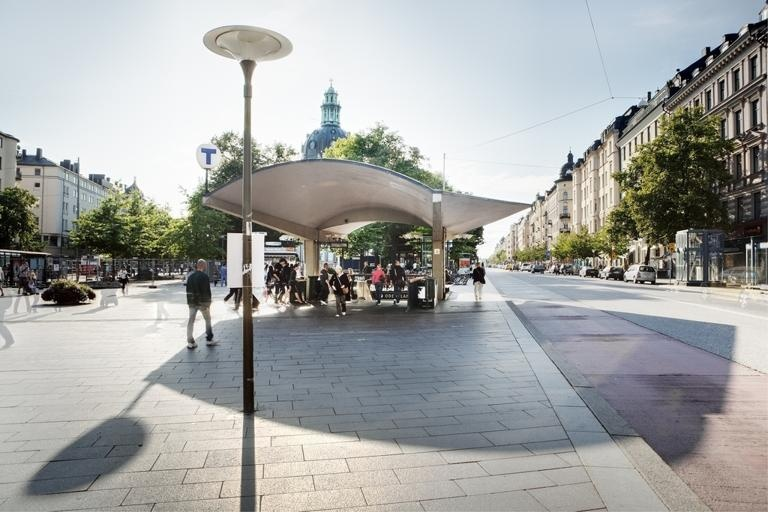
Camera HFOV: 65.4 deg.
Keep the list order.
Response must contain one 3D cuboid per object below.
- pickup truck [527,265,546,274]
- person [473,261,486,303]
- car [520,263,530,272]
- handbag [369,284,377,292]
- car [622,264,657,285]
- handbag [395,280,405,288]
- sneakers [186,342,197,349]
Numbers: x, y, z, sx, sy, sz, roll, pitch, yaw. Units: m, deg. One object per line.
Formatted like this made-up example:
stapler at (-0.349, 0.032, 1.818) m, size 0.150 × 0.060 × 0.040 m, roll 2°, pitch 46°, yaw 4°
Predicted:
pickup truck at (23.661, 1.992, 92.111) m, size 2.016 × 1.496 × 3.747 m, roll 0°, pitch 5°, yaw 8°
person at (3.883, 1.033, 24.846) m, size 0.403 × 1.688 × 1.278 m, roll 0°, pitch 5°, yaw 6°
car at (27.569, 2.184, 116.323) m, size 1.253 × 1.110 × 2.235 m, roll -2°, pitch -13°, yaw 8°
handbag at (-0.595, 1.586, 29.630) m, size 0.276 × 0.384 × 0.419 m, roll -3°, pitch 1°, yaw -2°
car at (20.031, 1.426, 46.758) m, size 1.328 × 1.040 × 2.357 m, roll 0°, pitch 3°, yaw 3°
handbag at (0.637, 1.064, 24.057) m, size 0.195 × 0.351 × 0.897 m, roll 1°, pitch 6°, yaw 18°
sneakers at (-4.190, 1.956, 13.050) m, size 0.094 × 0.124 × 0.282 m, roll 3°, pitch 0°, yaw 16°
